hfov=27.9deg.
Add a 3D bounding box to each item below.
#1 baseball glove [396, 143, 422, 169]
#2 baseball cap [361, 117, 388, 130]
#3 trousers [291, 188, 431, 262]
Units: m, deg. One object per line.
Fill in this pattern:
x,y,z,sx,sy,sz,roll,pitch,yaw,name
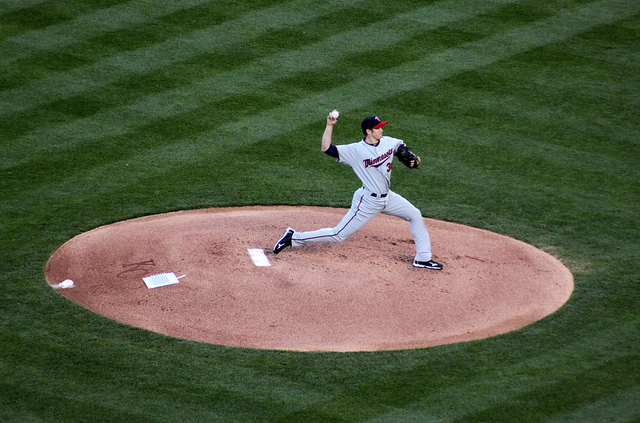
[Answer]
1.613,-1.012,24.282,0.552,0.184,0.369,33,28,-5,baseball glove
1.010,-1.654,23.961,0.410,0.125,0.226,-2,17,3,baseball cap
1.013,0.140,24.346,3.880,1.518,1.021,-2,12,2,trousers
